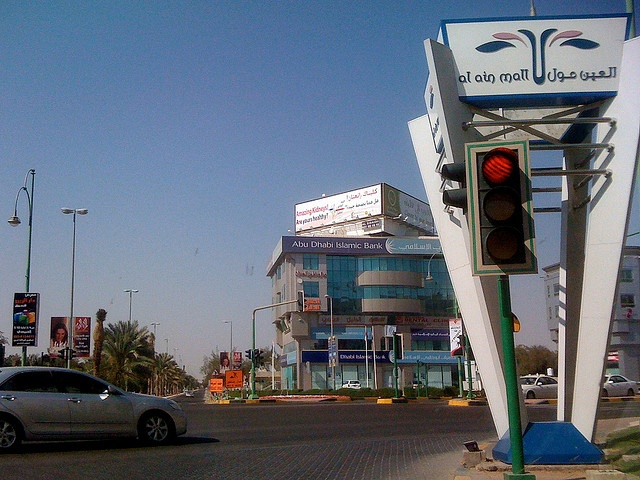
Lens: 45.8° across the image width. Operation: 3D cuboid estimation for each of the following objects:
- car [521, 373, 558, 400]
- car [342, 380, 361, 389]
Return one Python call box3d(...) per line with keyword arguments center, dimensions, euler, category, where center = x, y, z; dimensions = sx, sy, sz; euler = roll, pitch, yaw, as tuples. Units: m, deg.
box3d(center=(11.459, 7.681, 39.512), dimensions=(1.678, 1.247, 3.229), euler=(-5, -12, 15), category="car")
box3d(center=(2.895, 13.432, 68.847), dimensions=(1.062, 0.889, 1.789), euler=(4, -2, -20), category="car")
